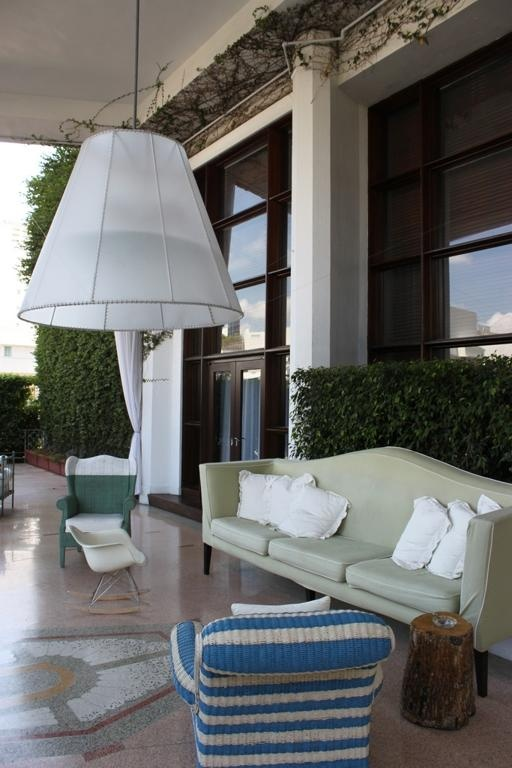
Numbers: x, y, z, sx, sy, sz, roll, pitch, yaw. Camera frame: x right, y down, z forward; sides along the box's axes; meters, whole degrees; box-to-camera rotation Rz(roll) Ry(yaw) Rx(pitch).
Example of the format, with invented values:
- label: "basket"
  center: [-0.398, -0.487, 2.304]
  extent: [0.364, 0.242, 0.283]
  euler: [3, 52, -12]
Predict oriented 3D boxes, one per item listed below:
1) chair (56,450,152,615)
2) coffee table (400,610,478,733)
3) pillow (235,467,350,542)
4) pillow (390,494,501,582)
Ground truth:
- label: "chair"
  center: [-1.273, 1.167, 4.877]
  extent: [0.704, 1.415, 1.161]
  euler: [0, -7, -6]
- label: "coffee table"
  center: [0.808, 1.258, 2.584]
  extent: [0.317, 0.377, 0.316]
  euler: [7, -6, -23]
- label: "pillow"
  center: [0.300, 0.910, 4.457]
  extent: [0.180, 0.451, 0.590]
  euler: [16, -3, -43]
- label: "pillow"
  center: [1.012, 0.816, 3.268]
  extent: [0.120, 0.421, 0.459]
  euler: [26, -12, -19]
